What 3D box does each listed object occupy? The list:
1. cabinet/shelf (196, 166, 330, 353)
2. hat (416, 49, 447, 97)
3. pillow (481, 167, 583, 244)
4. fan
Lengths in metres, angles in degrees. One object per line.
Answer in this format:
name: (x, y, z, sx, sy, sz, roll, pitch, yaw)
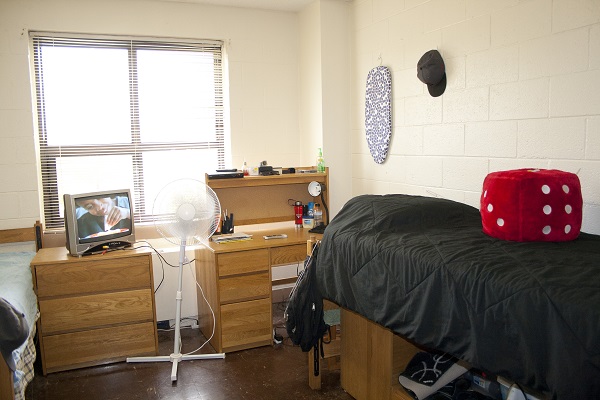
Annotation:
cabinet/shelf: (-0.358, 0.541, 4.012, 1.576, 1.790, 0.743, -4, 6, -33)
hat: (1.138, -1.065, 3.735, 0.136, 0.397, 0.238, -13, 18, -41)
pillow: (1.523, 0.007, 2.882, 0.625, 0.445, 0.585, -5, 7, -5)
fan: (-1.029, 0.605, 3.852, 0.739, 1.606, 0.987, 1, 14, 6)
